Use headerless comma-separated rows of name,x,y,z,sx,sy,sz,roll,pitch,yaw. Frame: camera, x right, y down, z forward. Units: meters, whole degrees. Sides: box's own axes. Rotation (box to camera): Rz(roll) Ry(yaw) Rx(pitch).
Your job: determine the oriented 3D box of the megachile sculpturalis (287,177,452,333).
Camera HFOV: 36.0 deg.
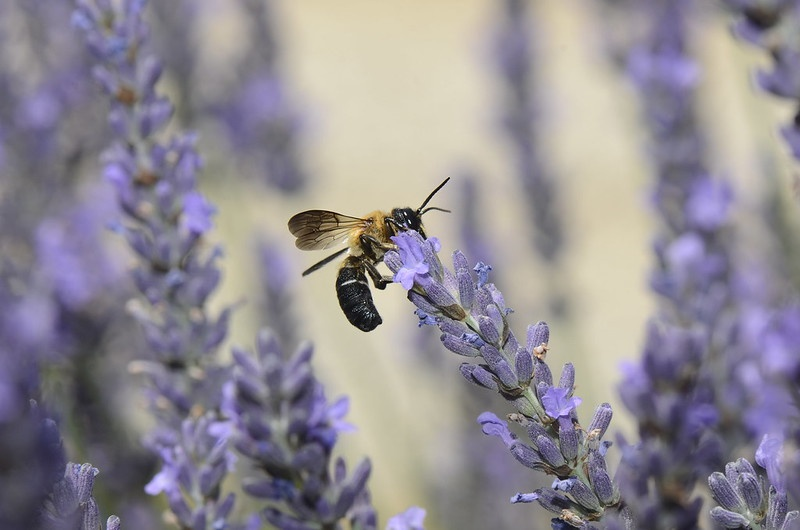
megachile sculpturalis,-0.049,-0.019,1.905,0.250,0.087,0.188,-29,-33,29
